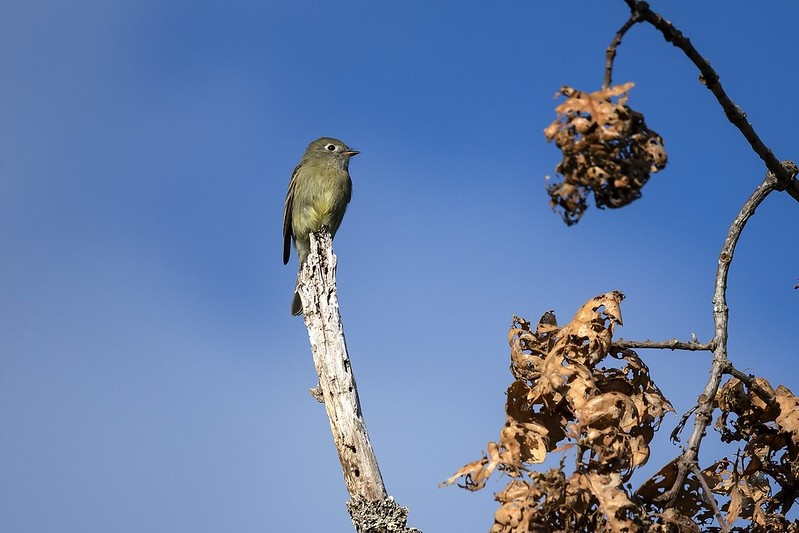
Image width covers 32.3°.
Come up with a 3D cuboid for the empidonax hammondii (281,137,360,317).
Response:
[{"bbox_3d":[-0.721,-0.628,12.916,0.618,2.052,1.015,22,-54,-17],"label":"empidonax hammondii"}]
